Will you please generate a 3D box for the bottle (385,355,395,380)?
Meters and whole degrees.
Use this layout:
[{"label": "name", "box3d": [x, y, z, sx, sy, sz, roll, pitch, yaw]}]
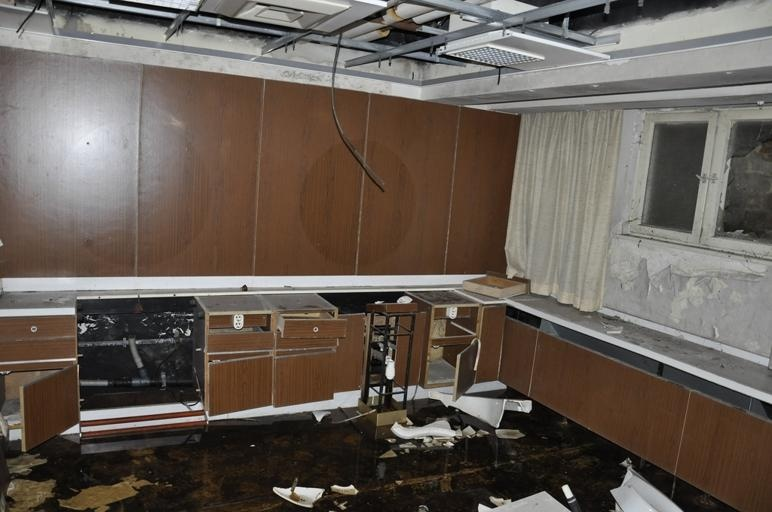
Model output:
[{"label": "bottle", "box3d": [0.020, 1.020, 4.830, 0.065, 0.203, 0.107, -5, 11, -15]}]
